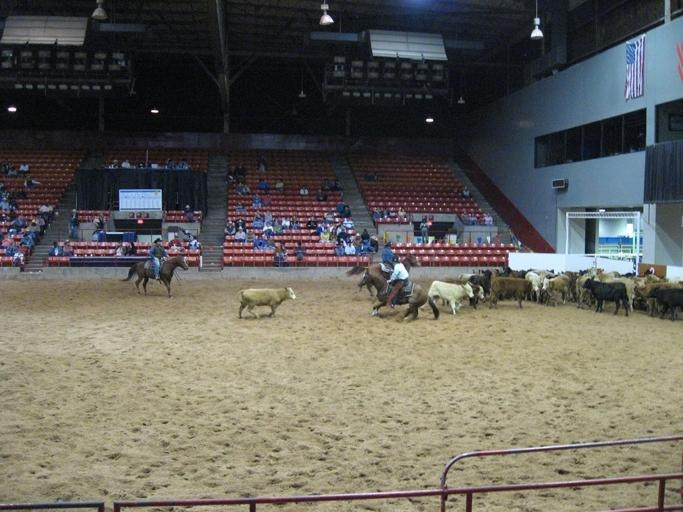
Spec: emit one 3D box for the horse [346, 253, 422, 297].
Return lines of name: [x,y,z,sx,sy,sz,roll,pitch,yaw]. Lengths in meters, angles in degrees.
horse: [1.412,0.618,26.810,2.475,1.544,0.532,-1,16,-8]

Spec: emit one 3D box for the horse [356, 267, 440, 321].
horse: [1.775,1.333,24.384,2.561,1.473,0.657,8,-10,12]

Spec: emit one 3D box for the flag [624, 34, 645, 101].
flag: [11.925,-7.596,31.748,0.268,2.435,1.211,1,-2,-13]

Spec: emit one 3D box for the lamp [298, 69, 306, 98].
lamp: [-2.319,-10.185,46.403,0.505,1.625,0.828,0,-2,5]

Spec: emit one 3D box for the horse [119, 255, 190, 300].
horse: [-6.813,0.695,28.337,2.489,1.578,0.610,3,1,10]

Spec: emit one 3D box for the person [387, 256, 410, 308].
person: [1.700,0.857,24.111,0.682,1.323,0.423,-1,-3,41]

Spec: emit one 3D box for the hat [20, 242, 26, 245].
hat: [-14.142,-0.568,34.766,0.132,0.143,0.049,-19,11,-2]

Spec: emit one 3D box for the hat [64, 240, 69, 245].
hat: [-12.030,-0.610,34.334,0.202,0.220,0.169,1,-3,-18]

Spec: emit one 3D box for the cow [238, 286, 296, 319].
cow: [-2.476,1.471,24.823,1.560,0.908,1.665,1,-2,-8]

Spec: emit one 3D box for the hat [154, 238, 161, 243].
hat: [-7.229,-0.618,30.799,0.278,0.071,0.286,4,1,-18]
